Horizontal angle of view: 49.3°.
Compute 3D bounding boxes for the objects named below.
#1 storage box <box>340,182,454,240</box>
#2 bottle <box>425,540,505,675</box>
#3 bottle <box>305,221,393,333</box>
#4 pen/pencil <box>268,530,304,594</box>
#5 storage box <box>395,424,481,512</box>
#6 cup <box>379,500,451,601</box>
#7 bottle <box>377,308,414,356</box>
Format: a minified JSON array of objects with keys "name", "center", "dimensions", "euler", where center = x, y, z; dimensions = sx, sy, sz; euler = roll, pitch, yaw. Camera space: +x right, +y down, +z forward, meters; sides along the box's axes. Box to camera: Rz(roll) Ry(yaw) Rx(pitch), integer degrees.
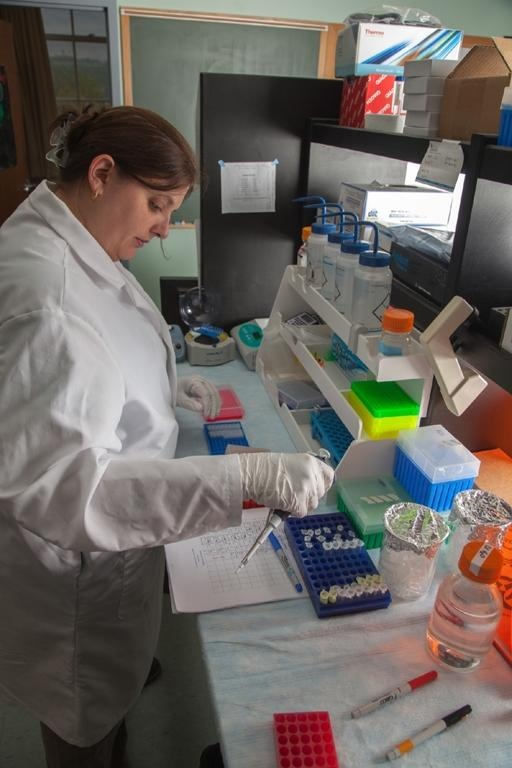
[{"name":"storage box","center":[0.409,-0.486,1.586],"dimensions":[0.230,0.089,0.245],"euler":[1,21,-3]},{"name":"bottle","center":[0.352,0.366,0.924],"dimensions":[0.099,0.238,0.090],"euler":[-1,31,1]},{"name":"bottle","center":[0.230,-0.264,1.355],"dimensions":[0.115,0.307,0.228],"euler":[-11,36,-18]},{"name":"pen/pencil","center":[0.061,0.365,1.150],"dimensions":[0.026,0.023,0.153],"euler":[-2,28,-17]},{"name":"storage box","center":[0.396,0.190,1.240],"dimensions":[0.098,0.122,0.132],"euler":[-5,26,-16]},{"name":"cup","center":[0.303,0.332,1.091],"dimensions":[0.112,0.169,0.113],"euler":[-3,28,2]},{"name":"bottle","center":[0.280,-0.089,1.158],"dimensions":[0.079,0.084,0.079],"euler":[3,1,2]}]
